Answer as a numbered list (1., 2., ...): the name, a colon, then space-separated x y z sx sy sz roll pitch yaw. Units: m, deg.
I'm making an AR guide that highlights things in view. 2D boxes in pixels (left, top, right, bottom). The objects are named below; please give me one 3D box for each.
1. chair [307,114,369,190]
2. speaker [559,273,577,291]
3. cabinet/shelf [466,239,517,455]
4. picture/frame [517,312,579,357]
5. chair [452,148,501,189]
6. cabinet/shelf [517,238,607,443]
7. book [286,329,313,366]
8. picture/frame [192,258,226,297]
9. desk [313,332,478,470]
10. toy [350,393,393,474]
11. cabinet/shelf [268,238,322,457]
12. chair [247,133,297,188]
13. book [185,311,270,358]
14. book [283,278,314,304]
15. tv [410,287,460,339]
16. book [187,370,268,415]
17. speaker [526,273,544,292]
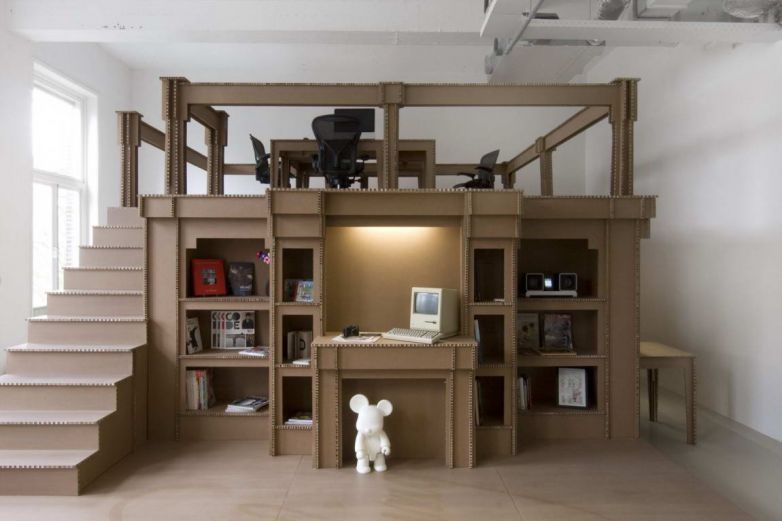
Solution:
1. chair: -0.687 -1.323 9.561 0.697 1.206 0.790 2 12 9
2. speaker: 2.130 0.238 8.775 0.238 0.235 0.174 0 1 3
3. cabinet/shelf: 1.215 0.996 8.617 0.575 2.500 0.667 0 -2 9
4. picture/frame: 1.952 0.917 8.922 0.678 0.478 0.156 2 -4 7
5. chair: 1.208 -1.189 10.491 0.651 0.905 0.609 3 -2 -5
6. cabinet/shelf: 2.097 0.926 8.824 1.086 2.410 0.508 0 -2 10
7. book: -1.105 1.011 8.654 0.299 0.416 0.414 0 -3 3
8. picture/frame: -2.227 0.197 8.878 0.435 0.441 0.161 1 -2 -16
9. desk: 0.101 1.698 8.759 1.828 1.485 1.087 -3 -10 11
10. toy: -0.232 1.941 8.166 0.458 0.869 0.224 1 -2 -4
11. cabinet/shelf: -1.141 0.988 8.623 0.630 2.511 0.566 1 -2 -10
12. chair: -1.847 -1.536 10.942 0.841 1.133 0.789 0 4 -4
13. book: -2.033 0.860 8.914 0.823 0.570 0.165 1 -2 0
14. book: -1.095 0.353 8.739 0.303 0.286 0.069 -3 -9 24
15. tv: 0.533 0.579 8.571 0.441 0.509 0.531 4 -2 -34
16. book: -2.060 1.601 8.746 0.732 0.441 0.554 0 -1 -5
17. speaker: 1.744 0.255 8.771 0.198 0.200 0.202 0 -2 4
